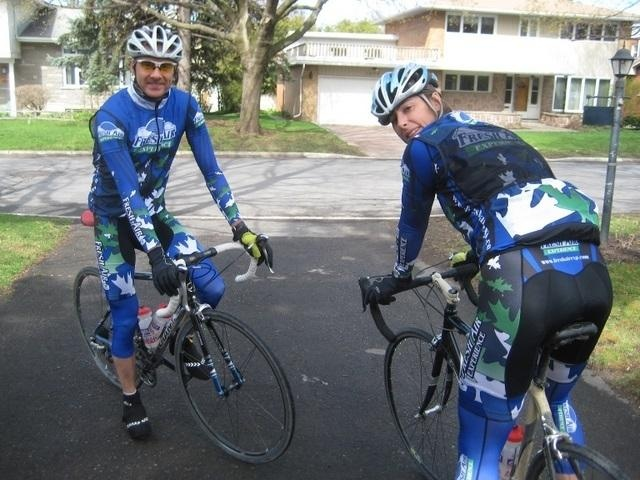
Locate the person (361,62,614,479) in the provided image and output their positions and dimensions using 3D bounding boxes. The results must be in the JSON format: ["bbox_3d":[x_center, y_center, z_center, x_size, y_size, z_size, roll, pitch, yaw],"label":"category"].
[{"bbox_3d":[0.864,0.288,2.683,1.058,1.789,0.594,8,16,32],"label":"person"}]

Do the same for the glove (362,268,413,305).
[{"bbox_3d":[0.396,0.266,3.188,0.206,0.337,0.131,25,38,20],"label":"glove"}]

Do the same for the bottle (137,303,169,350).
[{"bbox_3d":[-1.234,0.622,4.070,0.227,0.310,0.346,4,30,-9],"label":"bottle"}]

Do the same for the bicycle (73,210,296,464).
[{"bbox_3d":[-1.226,0.684,3.947,2.433,1.631,0.795,14,19,34],"label":"bicycle"}]

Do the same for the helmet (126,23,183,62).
[{"bbox_3d":[-1.126,-1.355,3.600,0.242,0.155,0.335,-5,11,41],"label":"helmet"}]

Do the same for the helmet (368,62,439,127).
[{"bbox_3d":[0.499,-0.857,2.978,0.377,0.225,0.286,-23,-6,-40],"label":"helmet"}]

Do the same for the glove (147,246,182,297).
[{"bbox_3d":[-1.002,0.227,3.419,0.171,0.367,0.320,-6,15,-19],"label":"glove"}]

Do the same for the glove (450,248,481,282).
[{"bbox_3d":[0.810,0.119,2.963,0.083,0.193,0.135,38,31,31],"label":"glove"}]

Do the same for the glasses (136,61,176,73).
[{"bbox_3d":[-1.098,-1.161,3.546,0.237,0.082,0.086,-9,17,-27],"label":"glasses"}]

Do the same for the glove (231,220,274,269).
[{"bbox_3d":[-0.462,0.034,3.721,0.357,0.175,0.223,33,-2,-12],"label":"glove"}]
